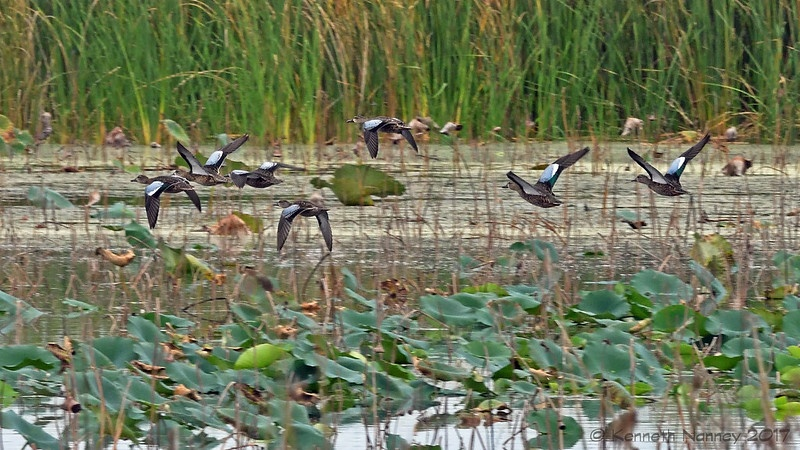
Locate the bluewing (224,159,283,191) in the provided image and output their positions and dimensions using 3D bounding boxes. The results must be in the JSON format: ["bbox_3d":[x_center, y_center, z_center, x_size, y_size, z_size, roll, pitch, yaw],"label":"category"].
[{"bbox_3d":[-0.896,-0.290,7.176,0.225,0.047,0.215,8,26,31],"label":"bluewing"}]

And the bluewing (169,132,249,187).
[{"bbox_3d":[-1.155,-0.361,7.127,0.349,0.158,0.430,12,24,28],"label":"bluewing"}]

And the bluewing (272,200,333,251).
[{"bbox_3d":[-0.569,0.002,6.668,0.301,0.130,0.370,33,31,18],"label":"bluewing"}]

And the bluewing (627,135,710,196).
[{"bbox_3d":[1.533,-0.270,7.110,0.366,0.179,0.581,12,1,31],"label":"bluewing"}]
